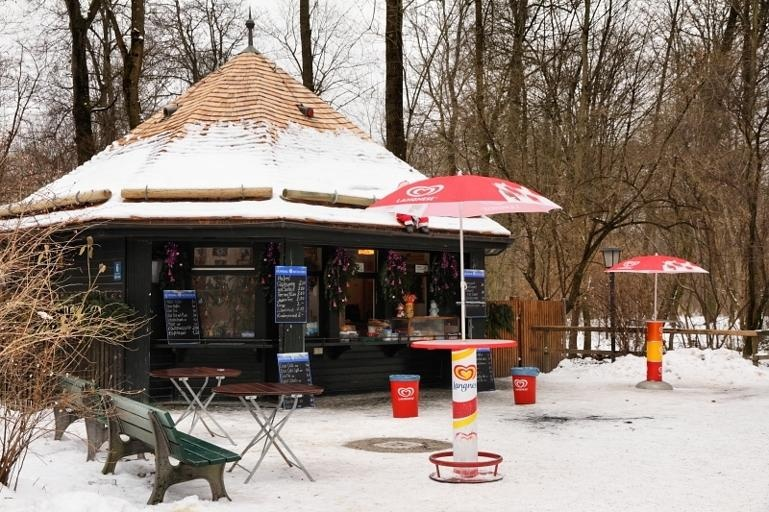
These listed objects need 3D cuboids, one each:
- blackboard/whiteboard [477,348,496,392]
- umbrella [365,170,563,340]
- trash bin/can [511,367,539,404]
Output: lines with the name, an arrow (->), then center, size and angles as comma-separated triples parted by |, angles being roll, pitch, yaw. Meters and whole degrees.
blackboard/whiteboard -> 2.495, 2.820, 24.372 | 0.230, 1.034, 0.739 | -5, -5, 34
umbrella -> 1.362, -0.064, 17.541 | 3.365, 2.884, 3.282 | -3, -6, 17
trash bin/can -> 3.209, 2.998, 22.877 | 0.746, 0.835, 0.691 | -3, -7, 17
